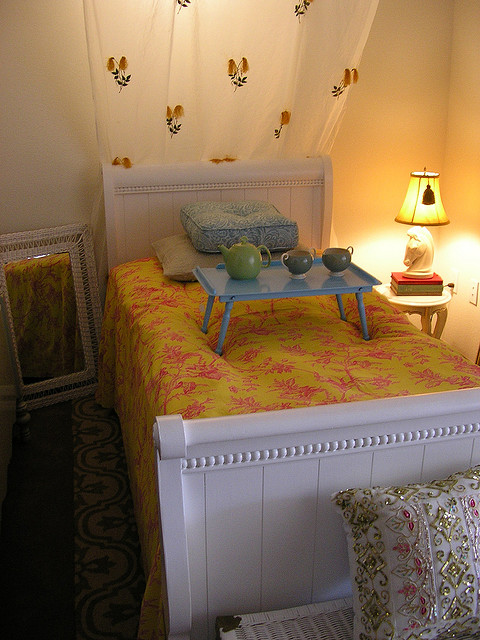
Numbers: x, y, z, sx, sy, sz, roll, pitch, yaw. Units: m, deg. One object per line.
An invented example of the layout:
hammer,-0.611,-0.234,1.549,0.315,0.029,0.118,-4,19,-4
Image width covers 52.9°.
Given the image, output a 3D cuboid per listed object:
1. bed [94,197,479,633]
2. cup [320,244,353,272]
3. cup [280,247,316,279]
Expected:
bed,0.057,0.250,1.680,0.896,0.905,1.315,-8,30,-15
cup,0.321,-0.205,1.571,0.093,0.083,0.075,-4,14,-16
cup,0.196,-0.194,1.586,0.083,0.082,0.113,13,20,41
